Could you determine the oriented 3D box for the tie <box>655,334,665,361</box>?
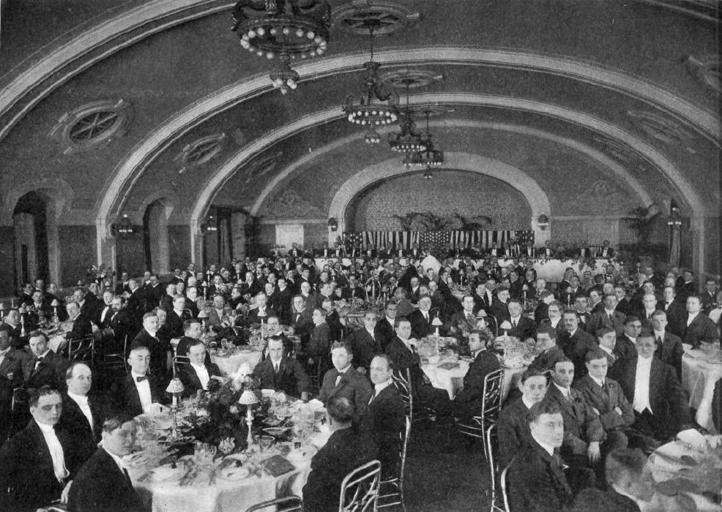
[{"bbox_3d":[5.130,1.569,12.029,0.215,0.324,0.076,4,-13,30],"label":"tie"}]
